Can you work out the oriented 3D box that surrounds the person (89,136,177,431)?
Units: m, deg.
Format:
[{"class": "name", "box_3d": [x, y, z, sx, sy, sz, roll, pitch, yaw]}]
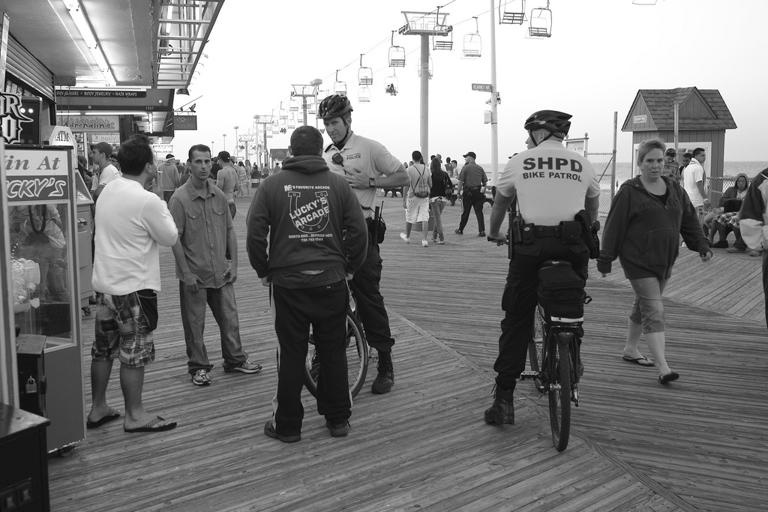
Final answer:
[{"class": "person", "box_3d": [-2.303, 0.254, 6.195, 0.868, 2.595, 0.545, -3, 10, -15]}]

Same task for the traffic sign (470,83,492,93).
[{"class": "traffic sign", "box_3d": [3.915, -6.641, 27.315, 1.058, 0.308, 0.248, -12, 15, -43]}]

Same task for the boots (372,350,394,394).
[{"class": "boots", "box_3d": [-0.009, 1.162, 7.103, 0.201, 0.352, 0.496, -2, 9, 15]}]

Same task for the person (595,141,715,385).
[{"class": "person", "box_3d": [2.871, 0.020, 7.347, 1.185, 2.475, 0.878, -6, 11, -27]}]

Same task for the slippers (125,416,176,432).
[{"class": "slippers", "box_3d": [-2.123, 1.520, 6.209, 0.385, 0.128, 0.171, -1, 7, -6]}]

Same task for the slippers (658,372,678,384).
[{"class": "slippers", "box_3d": [2.905, 1.243, 7.099, 0.093, 0.107, 0.253, -5, -19, -15]}]

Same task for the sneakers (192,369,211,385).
[{"class": "sneakers", "box_3d": [-1.913, 1.251, 7.186, 0.206, 0.143, 0.199, -4, 12, -17]}]

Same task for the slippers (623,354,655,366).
[{"class": "slippers", "box_3d": [2.861, 1.167, 7.738, 0.240, 0.073, 0.127, 5, 9, 24]}]

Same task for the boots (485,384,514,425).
[{"class": "boots", "box_3d": [1.039, 1.355, 6.369, 0.159, 0.363, 0.340, 6, -8, -33]}]

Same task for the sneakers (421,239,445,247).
[{"class": "sneakers", "box_3d": [1.210, -0.318, 17.114, 0.209, 0.279, 0.600, -2, -1, -42]}]

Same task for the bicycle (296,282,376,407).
[{"class": "bicycle", "box_3d": [-0.473, 0.813, 6.379, 0.272, 1.121, 1.101, -5, -11, 18]}]

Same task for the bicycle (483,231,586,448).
[{"class": "bicycle", "box_3d": [1.407, 0.646, 6.081, 0.632, 1.872, 0.895, -10, 14, -42]}]

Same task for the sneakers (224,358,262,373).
[{"class": "sneakers", "box_3d": [-1.526, 1.199, 7.534, 0.420, 0.201, 0.165, 0, 6, -3]}]

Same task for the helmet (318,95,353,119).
[{"class": "helmet", "box_3d": [-0.499, -1.496, 6.918, 0.339, 0.243, 0.234, -2, 11, -7]}]
